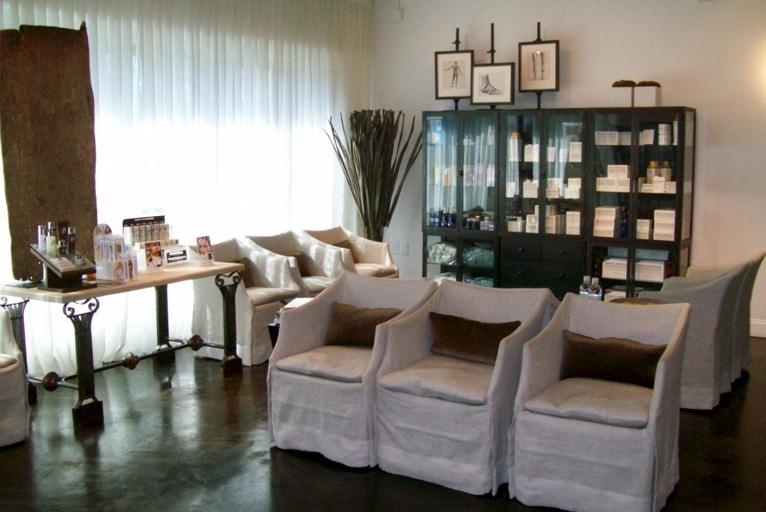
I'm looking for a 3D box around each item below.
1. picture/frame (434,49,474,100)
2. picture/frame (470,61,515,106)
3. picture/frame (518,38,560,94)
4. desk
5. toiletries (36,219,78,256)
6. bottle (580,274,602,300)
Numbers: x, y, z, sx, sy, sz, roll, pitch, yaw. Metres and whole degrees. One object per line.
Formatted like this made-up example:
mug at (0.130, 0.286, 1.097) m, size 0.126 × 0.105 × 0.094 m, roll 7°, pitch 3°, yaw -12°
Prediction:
picture/frame at (0.925, -2.328, 7.664) m, size 0.663 × 0.802 × 0.051 m, roll 1°, pitch 6°, yaw 12°
picture/frame at (1.385, -2.158, 7.480) m, size 0.518 × 0.543 × 0.052 m, roll 3°, pitch 5°, yaw 20°
picture/frame at (1.931, -2.342, 7.363) m, size 0.661 × 0.805 × 0.032 m, roll 1°, pitch 5°, yaw 28°
desk at (-2.359, 0.447, 5.540) m, size 1.219 × 1.325 × 2.307 m, roll 3°, pitch 8°, yaw 26°
toiletries at (-2.756, -0.154, 4.990) m, size 0.258 × 0.370 × 0.338 m, roll -2°, pitch 8°, yaw -42°
bottle at (2.084, 0.313, 5.971) m, size 0.253 × 0.288 × 0.107 m, roll 7°, pitch 12°, yaw 44°
